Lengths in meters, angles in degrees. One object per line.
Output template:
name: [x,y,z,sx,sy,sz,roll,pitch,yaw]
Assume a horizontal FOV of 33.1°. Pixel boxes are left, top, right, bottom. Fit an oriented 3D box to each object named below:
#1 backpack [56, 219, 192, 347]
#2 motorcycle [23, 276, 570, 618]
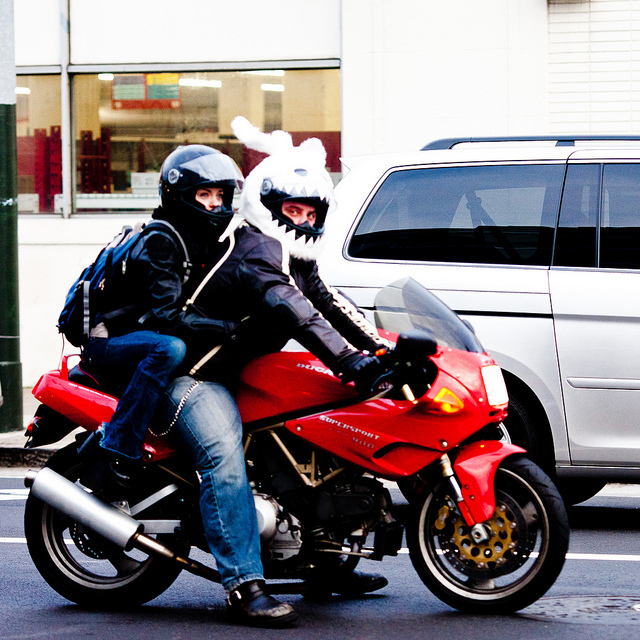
backpack: [-0.876,-0.144,4.876,0.617,0.503,0.370,0,-1,-9]
motorcycle: [-0.195,0.600,4.782,2.501,1.282,0.712,-4,-5,18]
